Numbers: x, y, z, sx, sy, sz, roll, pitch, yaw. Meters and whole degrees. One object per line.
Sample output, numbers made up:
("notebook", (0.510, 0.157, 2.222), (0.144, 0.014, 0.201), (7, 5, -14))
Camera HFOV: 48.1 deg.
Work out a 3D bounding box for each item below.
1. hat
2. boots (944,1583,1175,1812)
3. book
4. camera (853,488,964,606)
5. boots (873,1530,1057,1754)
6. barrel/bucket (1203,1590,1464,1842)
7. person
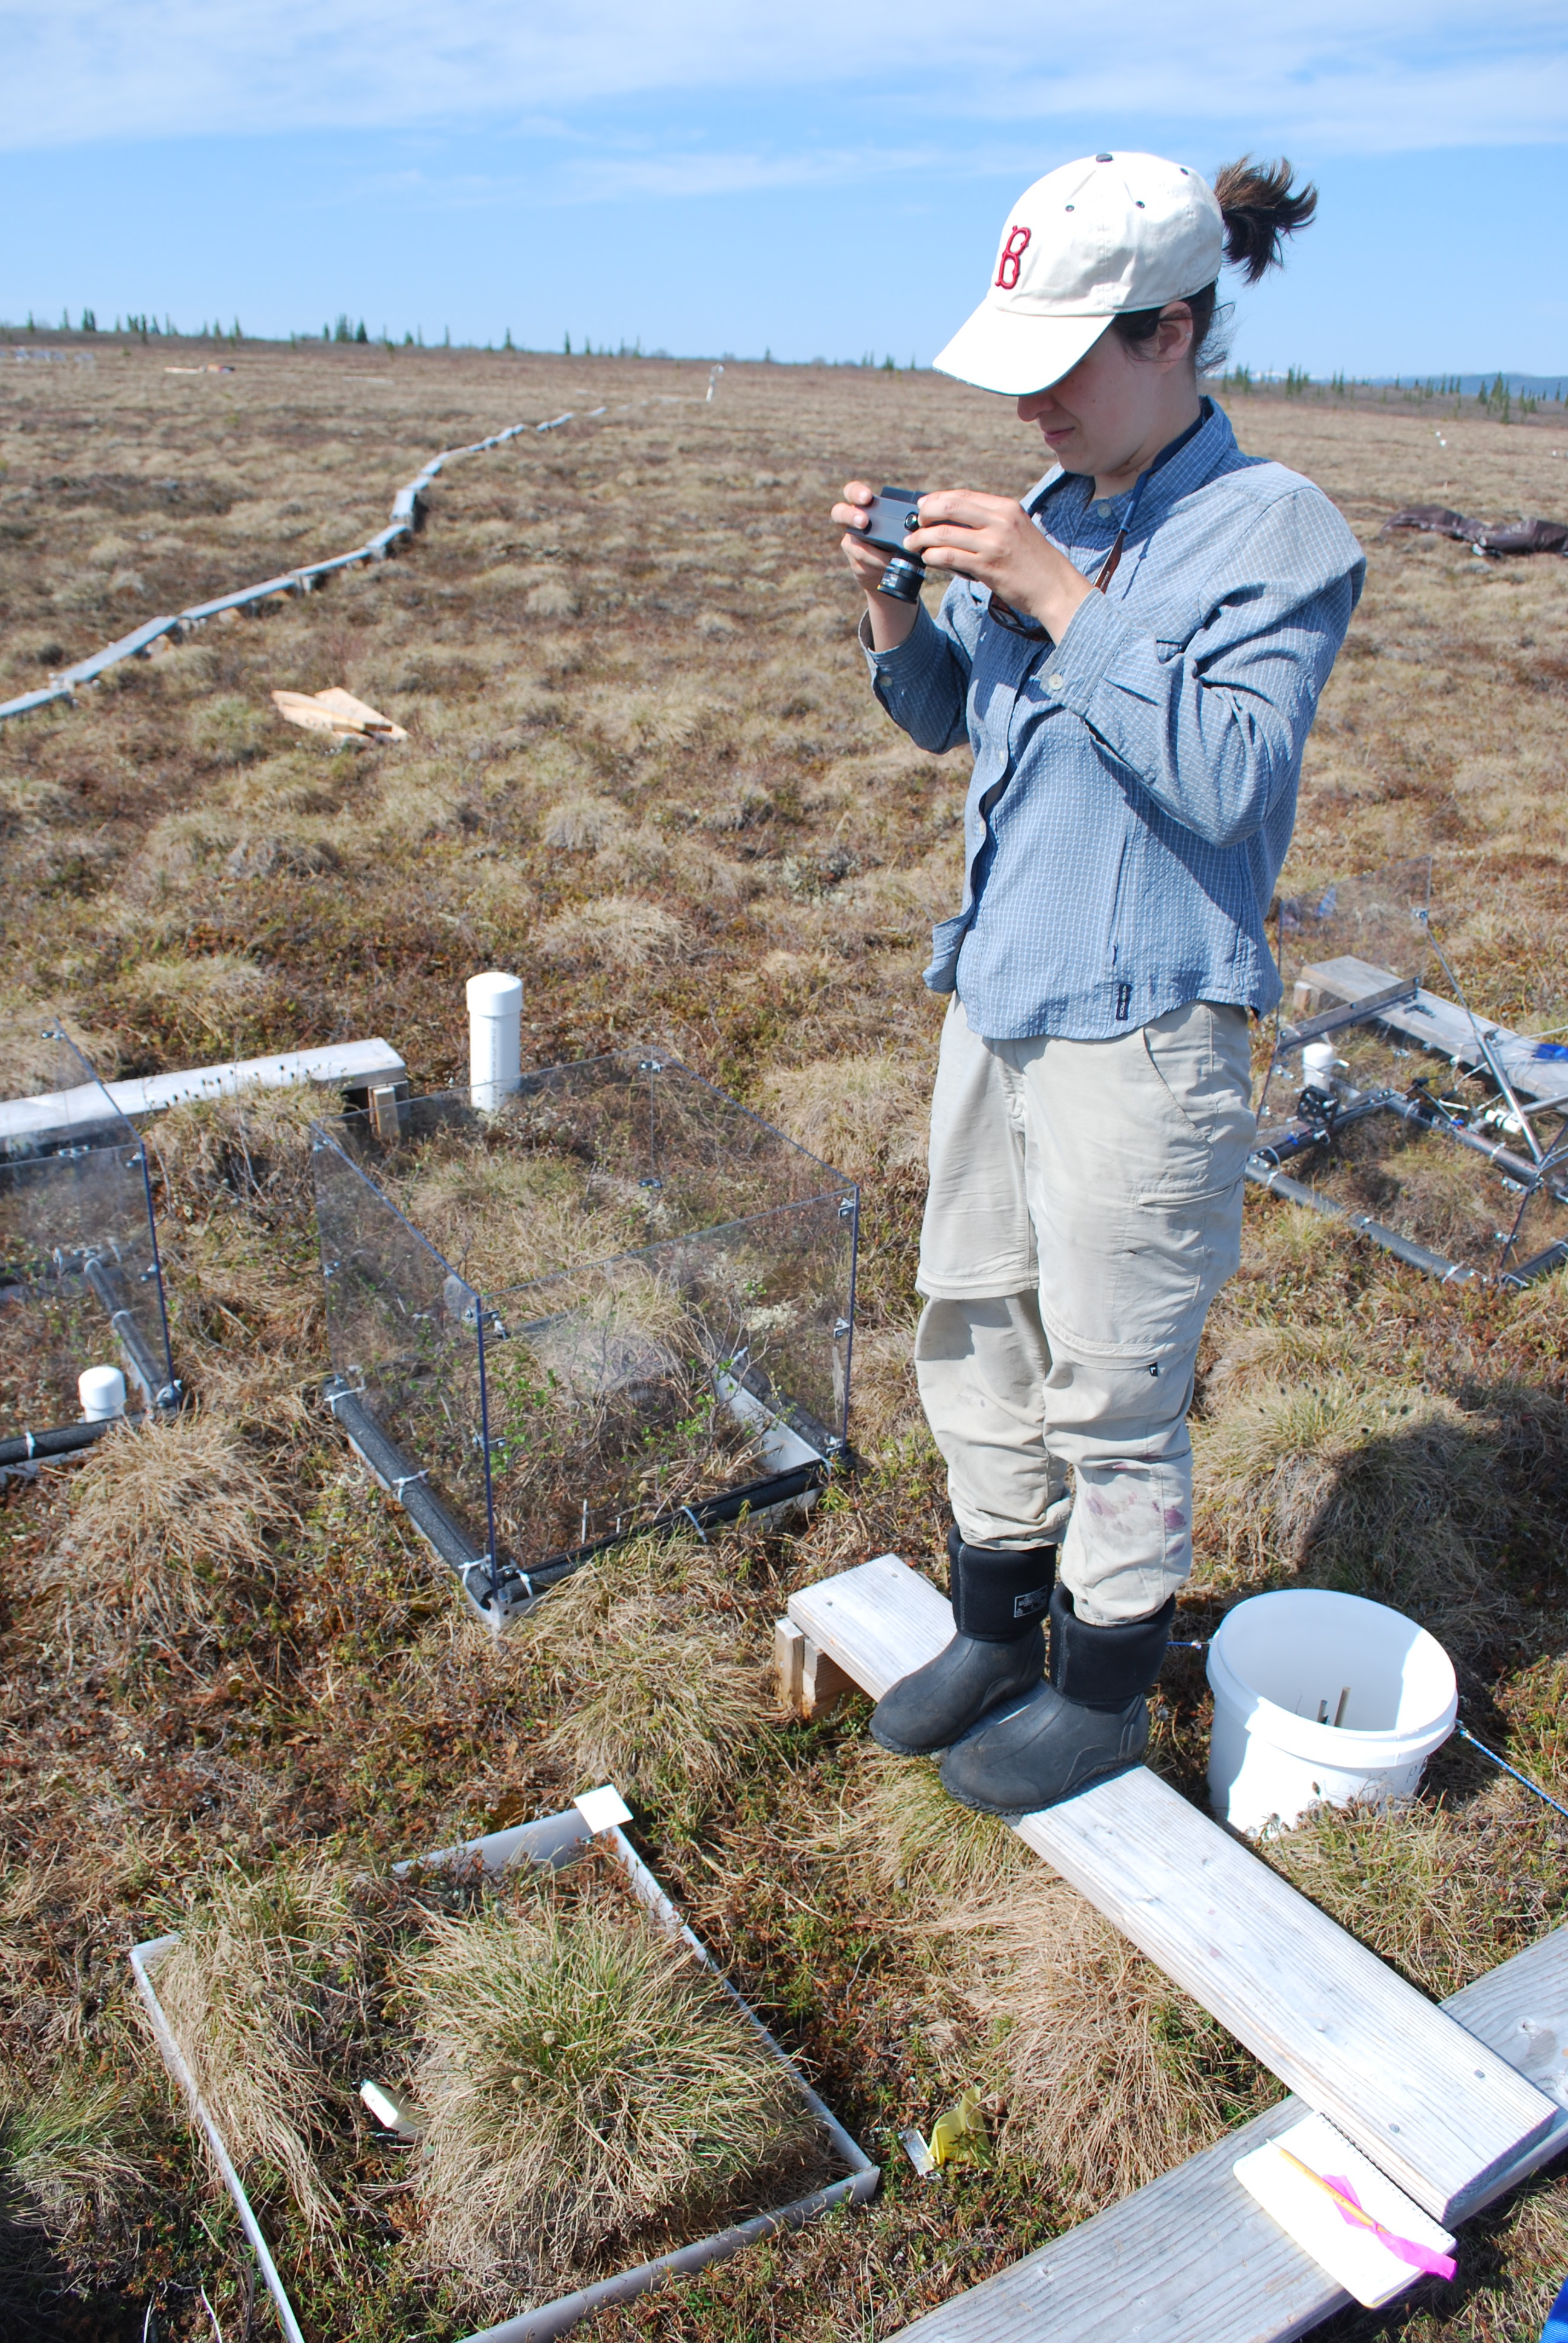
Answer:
("hat", (0.323, -1.047, 2.004), (0.363, 0.178, 0.224), (-30, 46, -17))
("boots", (0.397, 0.769, 2.564), (0.344, 0.323, 0.168), (-19, 39, -23))
("book", (0.663, 1.251, 2.104), (0.183, 0.058, 0.250), (-18, 23, -24))
("camera", (0.157, -0.820, 2.297), (0.061, 0.145, 0.144), (-5, 12, -39))
("boots", (0.264, 0.720, 2.714), (0.340, 0.317, 0.161), (-15, 26, -35))
("barrel/bucket", (0.934, 0.948, 2.927), (0.379, 0.289, 0.375), (-3, 18, 1))
("person", (0.403, -0.038, 2.322), (0.604, 2.398, 0.914), (-2, 16, 0))
